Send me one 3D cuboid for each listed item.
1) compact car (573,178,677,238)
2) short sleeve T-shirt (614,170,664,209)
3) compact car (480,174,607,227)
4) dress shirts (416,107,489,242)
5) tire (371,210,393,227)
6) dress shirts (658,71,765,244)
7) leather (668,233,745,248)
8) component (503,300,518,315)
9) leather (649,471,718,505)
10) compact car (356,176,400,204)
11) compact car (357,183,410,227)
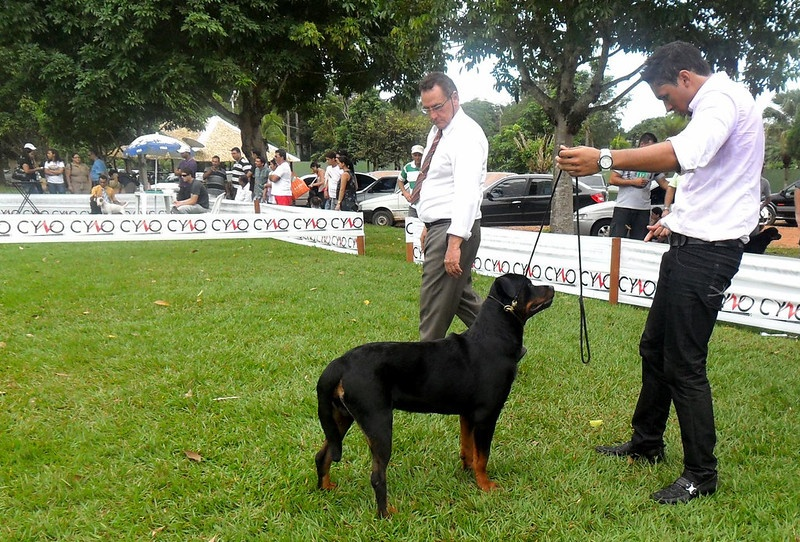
[{"bbox_3d":[5.209,-1.384,13.497,2.506,1.366,1.424,3,5,6],"label":"compact car"},{"bbox_3d":[3.619,-1.239,9.774,0.598,0.772,0.300,9,28,1],"label":"short sleeve T-shirt"},{"bbox_3d":[3.069,-1.690,16.383,3.890,1.456,1.837,2,5,2],"label":"compact car"},{"bbox_3d":[0.494,-0.905,5.981,0.617,1.177,0.477,1,10,4],"label":"dress shirts"},{"bbox_3d":[-0.483,-1.543,18.875,0.495,0.520,0.183,2,5,11],"label":"tire"},{"bbox_3d":[2.520,-0.915,5.260,0.850,1.321,0.374,-3,11,-16],"label":"dress shirts"},{"bbox_3d":[2.504,-0.236,5.300,0.275,0.067,0.251,5,1,-7],"label":"leather"},{"bbox_3d":[0.924,0.297,5.380,0.033,0.111,0.081,30,18,-9],"label":"component"},{"bbox_3d":[2.350,1.772,5.404,0.576,0.201,0.223,-9,-9,-10],"label":"leather"},{"bbox_3d":[-0.679,-2.505,19.637,1.106,0.571,0.708,1,8,-1],"label":"compact car"},{"bbox_3d":[-0.418,-1.855,19.033,1.590,0.850,0.906,2,5,3],"label":"compact car"}]
